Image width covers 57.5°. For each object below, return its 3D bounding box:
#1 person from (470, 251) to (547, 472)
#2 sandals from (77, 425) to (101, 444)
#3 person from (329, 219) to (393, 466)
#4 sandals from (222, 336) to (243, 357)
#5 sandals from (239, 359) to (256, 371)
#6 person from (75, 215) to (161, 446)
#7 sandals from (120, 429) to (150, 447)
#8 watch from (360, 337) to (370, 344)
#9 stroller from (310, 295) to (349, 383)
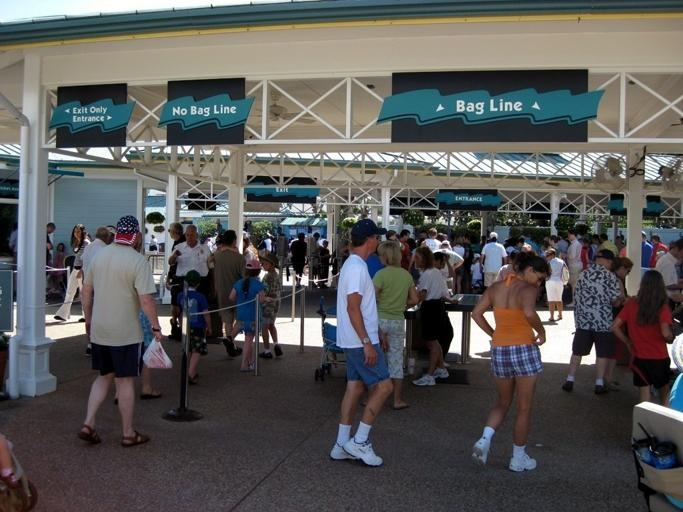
[{"bbox_3d":[1.727,1.011,6.356,0.681,2.062,1.260,2,5,18],"label":"person"},{"bbox_3d":[-2.587,1.840,6.395,0.117,0.126,0.317,1,-9,10],"label":"sandals"},{"bbox_3d":[0.237,0.850,6.311,0.611,2.439,0.824,3,-5,-11],"label":"person"},{"bbox_3d":[-1.807,1.502,10.277,0.168,0.507,0.191,-2,33,37],"label":"sandals"},{"bbox_3d":[-1.378,1.659,9.323,0.094,0.197,0.288,-8,-15,36],"label":"sandals"},{"bbox_3d":[-2.298,0.774,6.579,0.785,2.391,0.715,2,2,1],"label":"person"},{"bbox_3d":[-2.127,1.898,6.467,0.122,0.126,0.269,3,5,38],"label":"sandals"},{"bbox_3d":[0.232,0.813,5.941,0.074,0.047,0.072,-9,-7,-25],"label":"watch"},{"bbox_3d":[-0.177,1.257,9.166,0.693,0.988,0.727,1,1,41],"label":"stroller"}]
